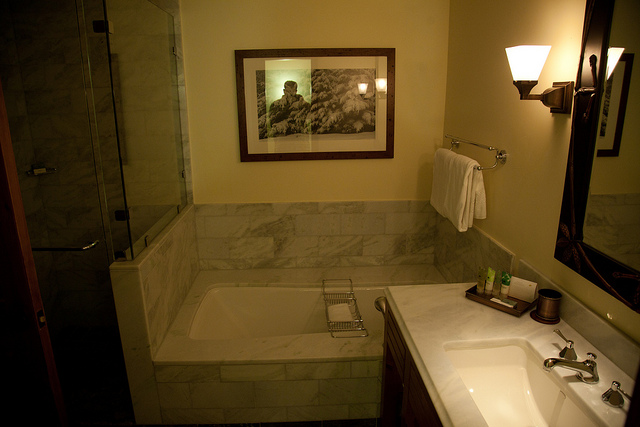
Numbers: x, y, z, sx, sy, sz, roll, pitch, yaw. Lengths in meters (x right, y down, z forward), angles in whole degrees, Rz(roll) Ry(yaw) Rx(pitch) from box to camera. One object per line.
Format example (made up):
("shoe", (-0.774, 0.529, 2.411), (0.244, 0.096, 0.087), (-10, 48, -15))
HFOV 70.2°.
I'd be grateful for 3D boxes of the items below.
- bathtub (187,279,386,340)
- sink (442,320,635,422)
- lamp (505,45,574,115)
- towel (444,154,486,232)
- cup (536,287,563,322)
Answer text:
("bathtub", (-0.247, 0.867, 3.867), (1.517, 0.369, 0.579), (-2, 18, -7))
("sink", (1.095, 0.835, 2.243), (0.795, 0.353, 0.543), (-2, 18, -7))
("lamp", (1.186, -0.719, 2.559), (0.220, 0.393, 0.324), (2, 15, -5))
("towel", (1.036, -0.154, 3.239), (0.199, 0.472, 0.484), (-2, 14, -2))
("cup", (1.249, 0.508, 2.565), (0.169, 0.167, 0.155), (-4, 20, 2))
